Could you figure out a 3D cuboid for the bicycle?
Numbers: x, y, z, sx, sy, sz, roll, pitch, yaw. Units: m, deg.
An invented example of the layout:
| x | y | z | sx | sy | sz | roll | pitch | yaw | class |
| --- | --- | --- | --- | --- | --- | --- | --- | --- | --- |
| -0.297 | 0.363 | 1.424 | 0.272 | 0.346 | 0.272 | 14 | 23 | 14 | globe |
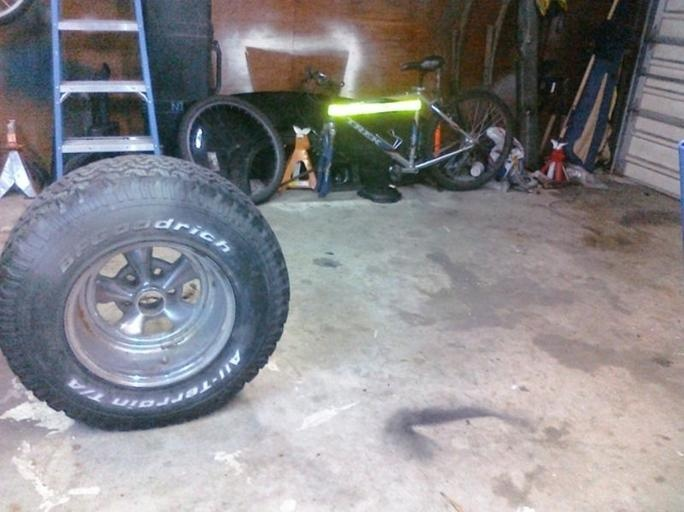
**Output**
| x | y | z | sx | sy | sz | roll | pitch | yaw | class |
| --- | --- | --- | --- | --- | --- | --- | --- | --- | --- |
| 0.681 | -1.511 | 6.950 | 2.500 | 1.555 | 1.192 | -10 | 21 | -22 | bicycle |
